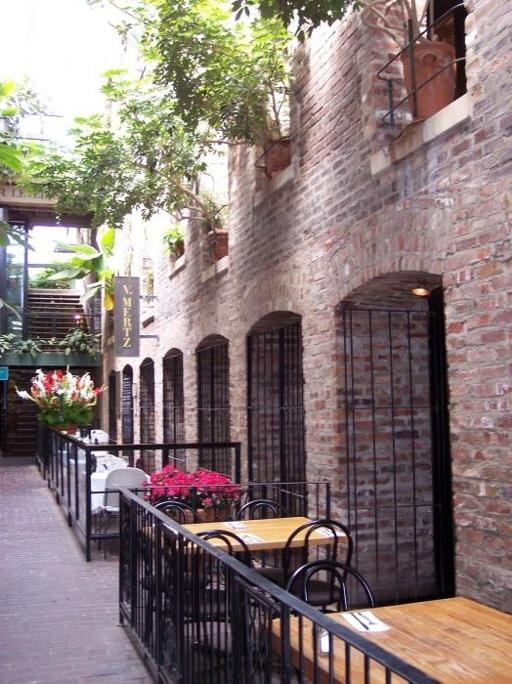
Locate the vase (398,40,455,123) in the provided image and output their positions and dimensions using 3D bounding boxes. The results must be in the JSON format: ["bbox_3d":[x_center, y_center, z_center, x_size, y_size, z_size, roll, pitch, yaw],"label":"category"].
[{"bbox_3d":[1.052,-1.626,4.534,0.418,0.410,0.395,-1,11,15],"label":"vase"}]

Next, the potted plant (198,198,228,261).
[{"bbox_3d":[-0.565,-1.538,9.616,0.334,0.967,0.665,-3,-4,-5],"label":"potted plant"}]

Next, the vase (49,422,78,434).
[{"bbox_3d":[-3.453,1.556,12.761,0.525,0.282,0.469,1,-3,-16],"label":"vase"}]

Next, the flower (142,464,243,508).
[{"bbox_3d":[-0.531,1.195,5.791,0.478,0.183,0.438,0,-2,10],"label":"flower"}]

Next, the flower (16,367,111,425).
[{"bbox_3d":[-3.757,1.107,13.600,1.113,1.148,1.264,1,-6,-42],"label":"flower"}]

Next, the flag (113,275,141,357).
[{"bbox_3d":[-2.333,-0.459,12.914,0.492,1.521,0.949,-3,-4,-10],"label":"flag"}]
